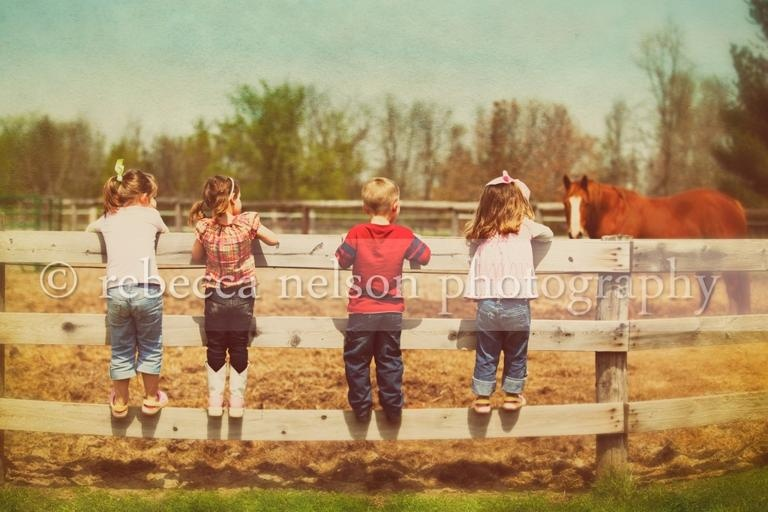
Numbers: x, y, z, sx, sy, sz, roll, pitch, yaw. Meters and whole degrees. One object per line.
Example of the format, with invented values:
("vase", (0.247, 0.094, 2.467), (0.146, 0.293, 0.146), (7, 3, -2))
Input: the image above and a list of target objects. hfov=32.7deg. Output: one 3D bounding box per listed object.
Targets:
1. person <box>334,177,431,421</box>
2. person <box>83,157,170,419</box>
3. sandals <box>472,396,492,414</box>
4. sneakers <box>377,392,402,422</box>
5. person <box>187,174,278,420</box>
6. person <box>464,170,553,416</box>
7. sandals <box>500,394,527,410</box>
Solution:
("person", (-0.078, 0.557, 16.411), (1.058, 3.058, 0.244), (0, 2, -6))
("person", (-3.154, 0.417, 16.498), (0.846, 3.228, 0.373), (-1, 2, -11))
("sandals", (1.228, 1.869, 16.491), (0.232, 0.148, 0.426), (0, -5, 1))
("sneakers", (0.079, 1.834, 16.316), (0.177, 0.206, 0.486), (-8, -42, 6))
("person", (-1.936, 0.498, 16.471), (0.946, 3.019, 0.337), (0, 2, -9))
("person", (1.500, 0.446, 16.507), (0.954, 3.032, 0.359), (0, 2, 6))
("sandals", (1.634, 1.842, 16.550), (0.214, 0.152, 0.411), (0, -10, 5))
